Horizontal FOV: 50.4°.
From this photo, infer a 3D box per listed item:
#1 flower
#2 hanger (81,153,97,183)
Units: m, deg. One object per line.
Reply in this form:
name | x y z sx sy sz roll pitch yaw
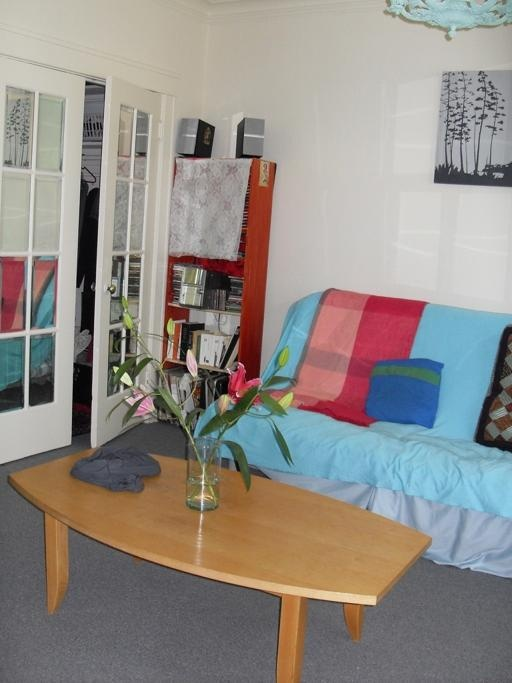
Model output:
flower | -0.268 0.249 2.609 0.932 0.923 0.857 5 -2 36
hanger | -1.385 -1.450 4.527 0.113 0.262 0.281 2 3 -26
